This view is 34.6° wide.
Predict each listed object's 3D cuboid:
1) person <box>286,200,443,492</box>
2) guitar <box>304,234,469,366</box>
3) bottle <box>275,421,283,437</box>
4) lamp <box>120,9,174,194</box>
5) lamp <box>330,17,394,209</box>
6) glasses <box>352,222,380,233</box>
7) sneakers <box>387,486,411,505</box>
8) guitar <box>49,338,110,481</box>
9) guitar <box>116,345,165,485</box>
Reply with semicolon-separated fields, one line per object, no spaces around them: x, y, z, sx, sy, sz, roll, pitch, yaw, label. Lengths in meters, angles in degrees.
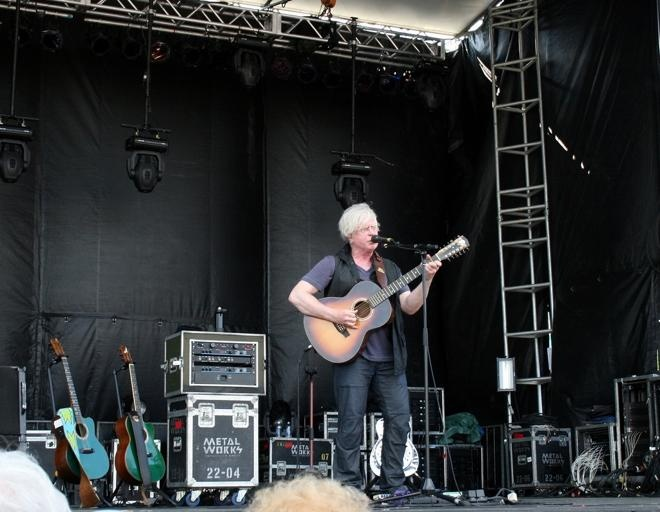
0.291;0.703;8.479;1.112;2.333;0.422;-2;-8;5;person
0.422;0.310;8.706;0.567;1.528;0.169;30;-28;33;guitar
-0.509;1.720;10.677;0.066;0.155;0.243;-1;-9;-3;bottle
-2.044;-1.782;11.744;0.517;2.337;1.718;0;-9;-10;lamp
0.355;-1.635;12.368;0.739;2.490;1.992;-2;-9;3;lamp
0.279;-0.237;8.586;0.105;0.065;0.138;3;-9;-31;glasses
0.557;1.833;8.179;0.162;0.127;0.418;-2;-10;4;sneakers
-2.321;1.401;9.784;0.533;1.311;1.155;1;-9;-14;guitar
-1.772;1.462;9.849;0.443;1.312;0.962;0;-9;-10;guitar
